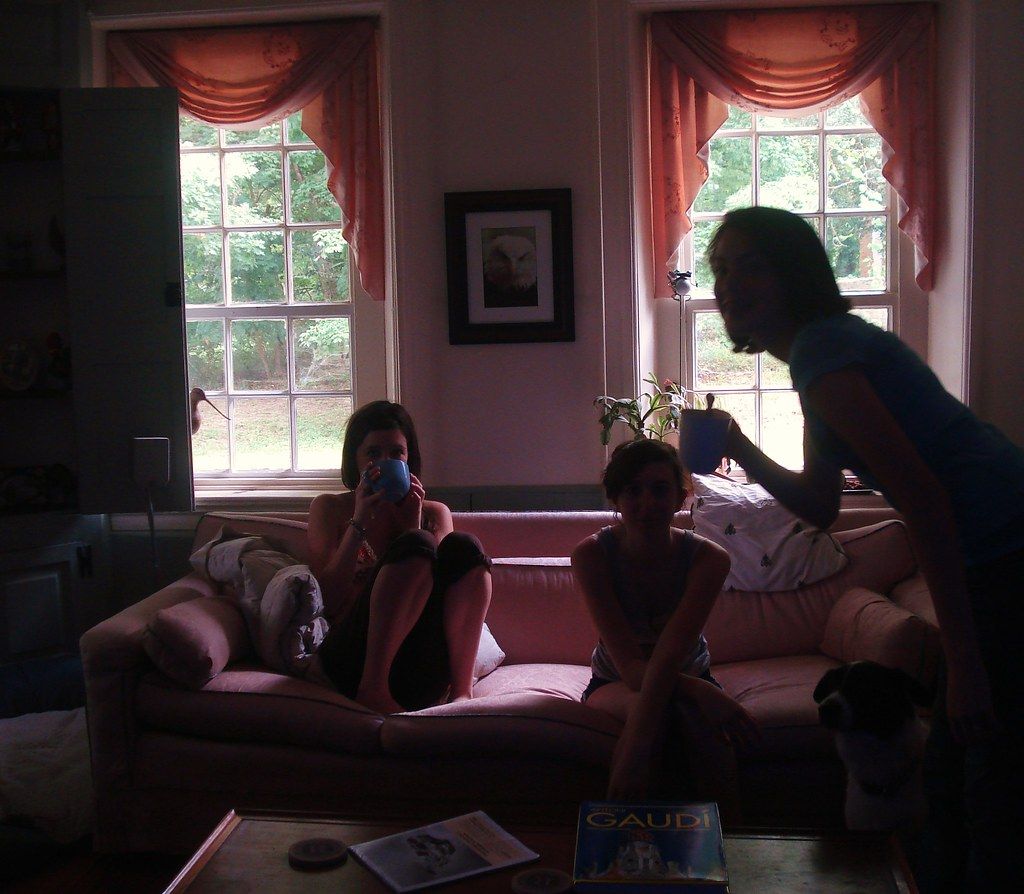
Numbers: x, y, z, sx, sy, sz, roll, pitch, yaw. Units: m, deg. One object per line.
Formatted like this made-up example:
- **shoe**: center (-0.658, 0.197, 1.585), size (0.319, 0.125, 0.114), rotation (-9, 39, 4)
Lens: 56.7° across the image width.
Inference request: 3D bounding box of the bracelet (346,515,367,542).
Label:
- **bracelet**: center (-0.410, 0.221, 2.511), size (0.030, 0.057, 0.039), rotation (3, 8, -34)

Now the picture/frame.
- **picture/frame**: center (0.004, -0.684, 3.456), size (0.509, 0.649, 0.051), rotation (0, 4, 4)

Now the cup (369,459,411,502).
- **cup**: center (-0.313, 0.089, 2.456), size (0.079, 0.100, 0.109), rotation (0, -12, -3)

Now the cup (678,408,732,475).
- **cup**: center (0.392, -0.013, 1.935), size (0.092, 0.135, 0.127), rotation (1, 3, 7)

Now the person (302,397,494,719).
- **person**: center (-0.291, 0.310, 2.603), size (0.383, 0.604, 0.969), rotation (7, 48, -22)
